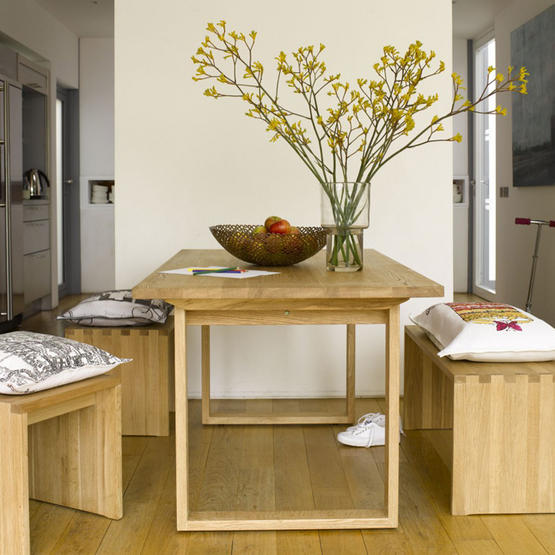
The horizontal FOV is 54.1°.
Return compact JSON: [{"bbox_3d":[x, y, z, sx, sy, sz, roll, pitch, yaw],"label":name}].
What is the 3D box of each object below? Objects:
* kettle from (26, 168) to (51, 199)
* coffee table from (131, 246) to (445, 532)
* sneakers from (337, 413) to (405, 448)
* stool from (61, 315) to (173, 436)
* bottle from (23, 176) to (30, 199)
[{"bbox_3d":[-2.240,-0.868,5.084,0.129,0.278,0.333,2,5,21],"label":"kettle"},{"bbox_3d":[0.012,0.314,1.867,0.788,0.678,1.112,0,3,-2],"label":"coffee table"},{"bbox_3d":[0.425,0.641,2.299,0.342,0.143,0.155,1,-3,-12],"label":"sneakers"},{"bbox_3d":[-0.690,0.372,2.468,0.405,0.458,0.773,1,2,-2],"label":"stool"},{"bbox_3d":[-2.285,-0.819,4.940,0.056,0.214,0.167,-3,6,-25],"label":"bottle"}]
